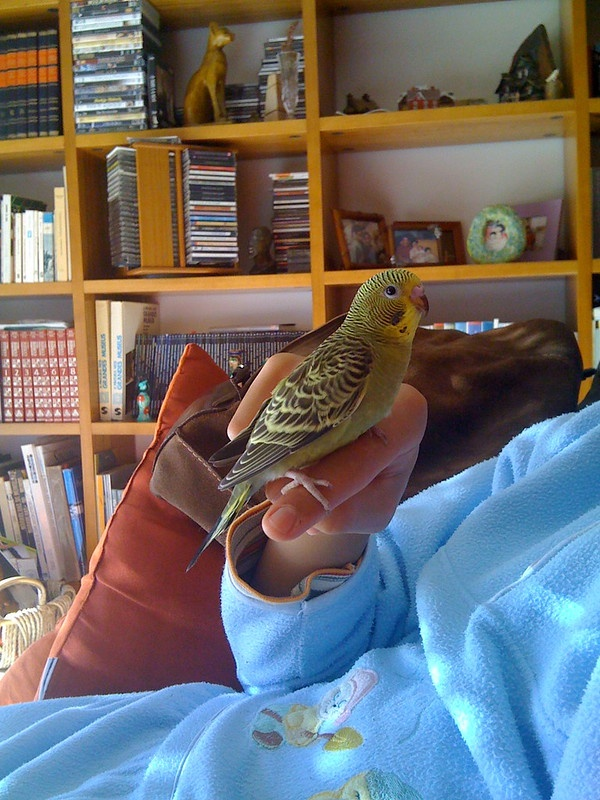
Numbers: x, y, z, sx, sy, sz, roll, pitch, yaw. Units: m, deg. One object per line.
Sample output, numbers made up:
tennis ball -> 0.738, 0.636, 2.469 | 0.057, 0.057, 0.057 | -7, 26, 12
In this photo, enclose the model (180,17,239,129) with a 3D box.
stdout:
model -> -0.252, -0.870, 1.679 | 0.153, 0.276, 0.152 | -6, 11, -6
